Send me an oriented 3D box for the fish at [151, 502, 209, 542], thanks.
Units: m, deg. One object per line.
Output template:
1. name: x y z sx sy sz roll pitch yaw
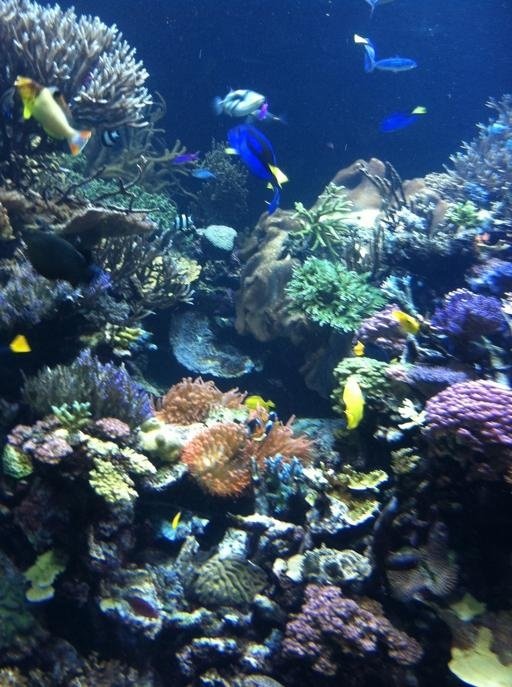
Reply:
1. fish: -0.549 1.336 4.659 0.324 0.100 0.209 9 31 -38

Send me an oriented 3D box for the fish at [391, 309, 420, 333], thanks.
1. fish: 1.291 -0.180 5.557 0.212 0.126 0.492 -5 -1 5

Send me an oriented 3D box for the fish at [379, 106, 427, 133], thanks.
1. fish: 1.392 -2.189 6.133 0.349 0.235 0.749 6 7 5

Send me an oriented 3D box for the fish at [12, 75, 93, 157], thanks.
1. fish: -1.453 -1.596 4.517 0.561 0.427 0.199 -1 10 -43

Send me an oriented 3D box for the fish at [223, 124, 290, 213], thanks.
1. fish: 0.005 -1.175 4.310 0.537 0.578 0.281 11 8 38

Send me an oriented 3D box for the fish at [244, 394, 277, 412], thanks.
1. fish: 0.055 0.580 5.925 0.245 0.088 0.185 8 3 -37

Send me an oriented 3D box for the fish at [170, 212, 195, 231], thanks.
1. fish: -0.993 -1.668 8.758 0.156 0.309 0.559 -11 7 3
